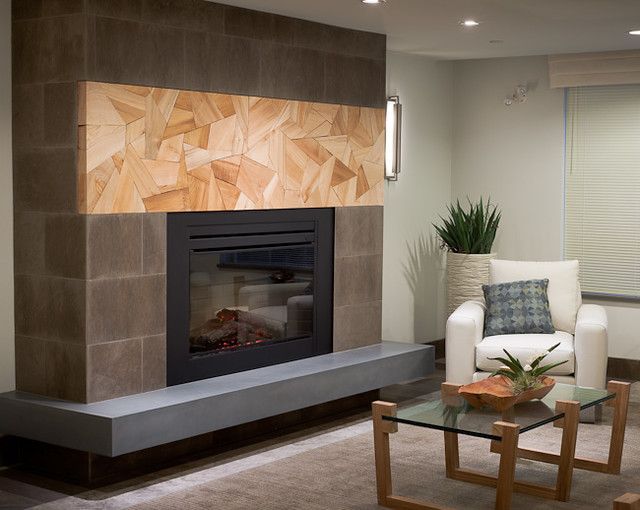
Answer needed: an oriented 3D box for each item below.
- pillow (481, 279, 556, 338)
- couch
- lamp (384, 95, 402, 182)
[{"bbox_3d":[1.725,0.444,4.532,0.586,0.190,0.655,-11,34,24],"label":"pillow"},{"bbox_3d":[1.809,0.691,4.568,1.219,1.318,1.006,-1,0,26],"label":"couch"},{"bbox_3d":[0.763,-1.218,5.433,0.180,0.876,0.425,0,-1,8],"label":"lamp"}]
